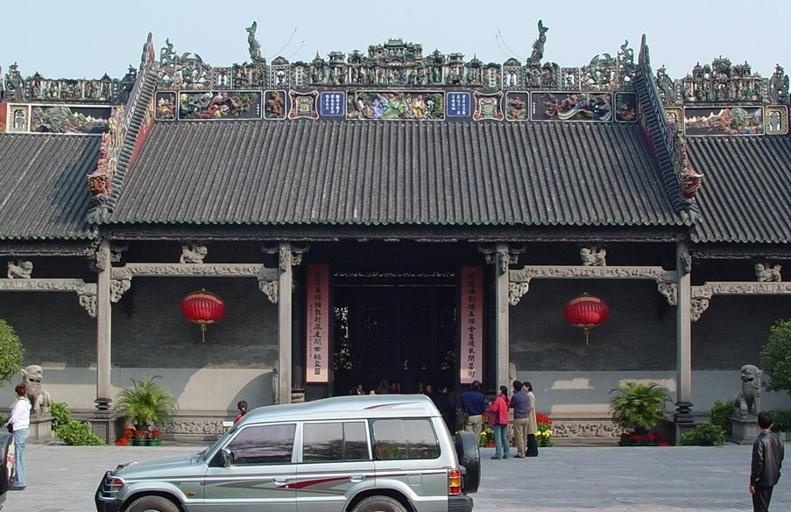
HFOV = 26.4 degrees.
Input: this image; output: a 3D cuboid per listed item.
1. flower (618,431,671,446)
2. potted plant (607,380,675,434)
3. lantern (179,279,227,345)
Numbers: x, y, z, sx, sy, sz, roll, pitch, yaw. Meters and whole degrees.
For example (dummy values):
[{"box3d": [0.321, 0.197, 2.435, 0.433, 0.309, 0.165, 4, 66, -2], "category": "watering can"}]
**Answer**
[{"box3d": [7.189, 5.256, 48.775, 1.517, 0.399, 0.736, -1, -4, 13], "category": "flower"}, {"box3d": [7.120, 4.366, 49.273, 1.517, 1.481, 1.372, 0, -4, -2], "category": "potted plant"}, {"box3d": [-5.704, 1.750, 49.621, 1.271, 1.390, 1.155, 1, 0, -12], "category": "lantern"}]
